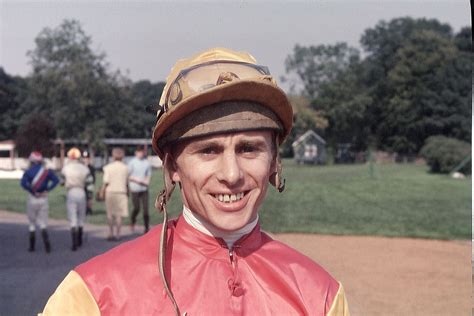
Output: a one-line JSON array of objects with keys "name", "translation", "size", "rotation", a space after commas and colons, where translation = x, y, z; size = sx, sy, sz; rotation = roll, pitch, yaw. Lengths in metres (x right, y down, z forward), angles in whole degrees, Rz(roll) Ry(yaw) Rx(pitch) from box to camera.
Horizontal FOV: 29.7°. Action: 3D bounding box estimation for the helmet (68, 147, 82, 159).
[{"name": "helmet", "translation": [-3.128, -0.071, 17.313], "size": [0.155, 0.246, 0.251], "rotation": [4, -2, -6]}]
